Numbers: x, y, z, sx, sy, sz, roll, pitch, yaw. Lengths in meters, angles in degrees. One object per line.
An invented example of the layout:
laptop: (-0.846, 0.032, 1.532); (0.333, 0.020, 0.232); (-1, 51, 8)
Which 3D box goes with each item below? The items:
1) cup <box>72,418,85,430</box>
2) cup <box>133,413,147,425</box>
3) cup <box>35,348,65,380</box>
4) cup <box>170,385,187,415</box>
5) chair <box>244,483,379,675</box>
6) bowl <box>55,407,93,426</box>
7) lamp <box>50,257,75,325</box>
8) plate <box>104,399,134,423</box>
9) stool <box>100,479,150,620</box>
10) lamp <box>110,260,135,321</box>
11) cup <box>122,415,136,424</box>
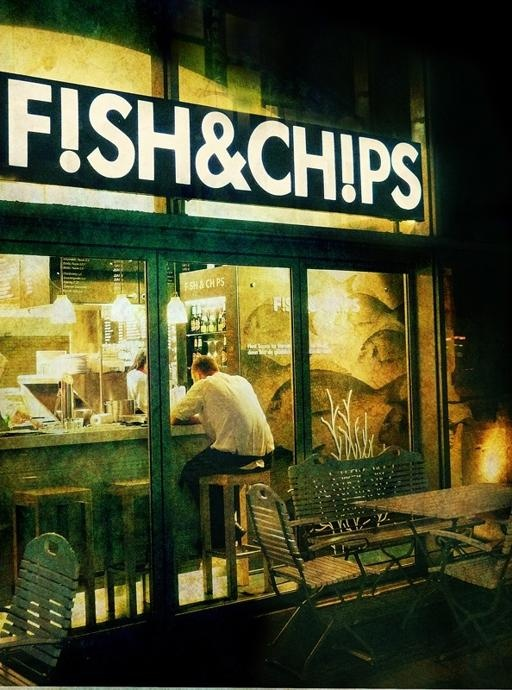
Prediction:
cup: (-1.096, 0.498, 4.880); (0.050, 0.067, 0.053); (2, -2, 0)
cup: (-0.709, 0.459, 4.787); (0.065, 0.076, 0.192); (1, 3, -19)
cup: (-1.376, 0.126, 5.254); (0.124, 0.217, 0.202); (1, -2, 6)
cup: (-0.481, 0.330, 4.831); (0.054, 0.143, 0.250); (2, 3, 13)
chair: (0.273, 1.220, 4.540); (0.690, 1.026, 1.287); (2, 3, -4)
bowl: (-1.154, 0.463, 5.018); (0.131, 0.122, 0.119); (-1, -2, 0)
lamp: (-1.351, -0.278, 5.476); (0.155, 0.297, 0.445); (1, 3, -10)
plate: (-0.874, 0.418, 5.044); (0.170, 0.153, 0.137); (0, -1, -19)
stool: (-0.740, 1.157, 4.590); (0.194, 0.739, 0.340); (1, 2, -26)
lamp: (-0.901, -0.311, 5.327); (0.152, 0.366, 1.184); (1, 3, -10)
cup: (-0.789, 0.470, 4.880); (0.047, 0.028, 0.077); (-3, -10, 23)
